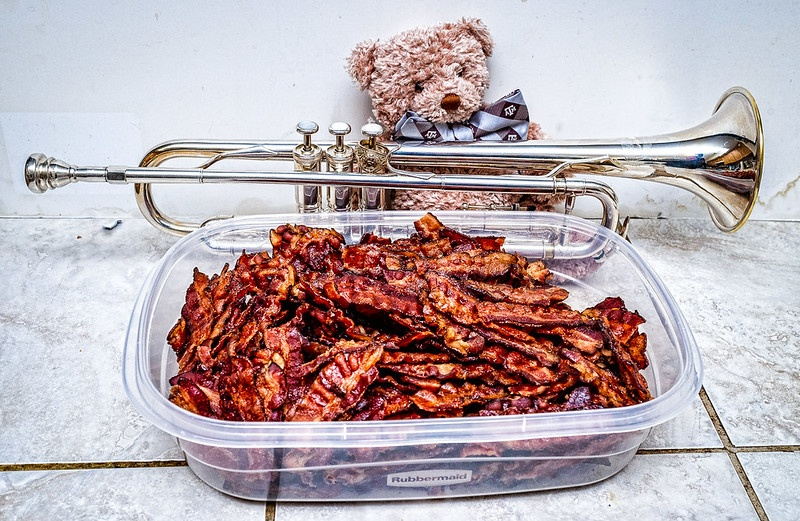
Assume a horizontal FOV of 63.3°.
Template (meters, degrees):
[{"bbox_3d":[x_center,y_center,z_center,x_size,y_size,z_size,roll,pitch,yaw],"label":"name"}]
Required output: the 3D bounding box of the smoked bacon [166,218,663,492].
[{"bbox_3d":[0.011,0.157,1.309,0.892,0.261,0.442,-1,60,-4],"label":"smoked bacon"}]
